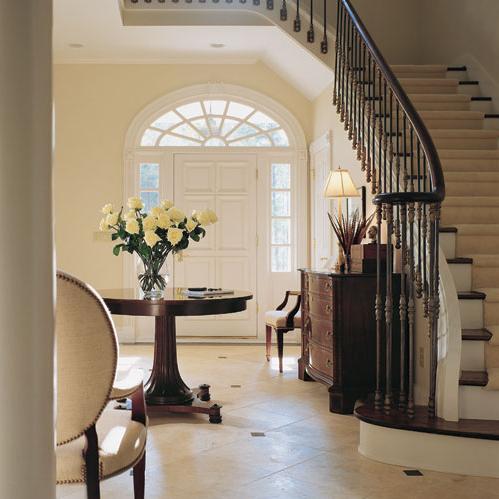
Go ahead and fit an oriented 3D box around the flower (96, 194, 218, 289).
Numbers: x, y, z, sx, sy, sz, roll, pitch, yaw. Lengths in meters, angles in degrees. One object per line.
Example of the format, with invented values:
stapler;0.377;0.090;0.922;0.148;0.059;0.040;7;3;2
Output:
flower;-0.714;-0.016;3.972;0.905;0.867;0.966;3;6;-4

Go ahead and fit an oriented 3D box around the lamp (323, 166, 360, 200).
lamp;0.802;-0.562;4.585;0.275;0.268;0.218;0;0;-34

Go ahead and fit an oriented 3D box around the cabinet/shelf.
cabinet/shelf;0.719;0.709;4.377;0.410;1.061;1.054;1;1;-10

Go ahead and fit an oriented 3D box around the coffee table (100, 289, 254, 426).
coffee table;-0.585;0.777;3.856;1.009;0.903;1.036;-2;-1;36

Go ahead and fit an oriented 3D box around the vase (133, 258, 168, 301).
vase;-0.725;0.226;3.895;0.254;0.394;0.303;1;-7;-9
